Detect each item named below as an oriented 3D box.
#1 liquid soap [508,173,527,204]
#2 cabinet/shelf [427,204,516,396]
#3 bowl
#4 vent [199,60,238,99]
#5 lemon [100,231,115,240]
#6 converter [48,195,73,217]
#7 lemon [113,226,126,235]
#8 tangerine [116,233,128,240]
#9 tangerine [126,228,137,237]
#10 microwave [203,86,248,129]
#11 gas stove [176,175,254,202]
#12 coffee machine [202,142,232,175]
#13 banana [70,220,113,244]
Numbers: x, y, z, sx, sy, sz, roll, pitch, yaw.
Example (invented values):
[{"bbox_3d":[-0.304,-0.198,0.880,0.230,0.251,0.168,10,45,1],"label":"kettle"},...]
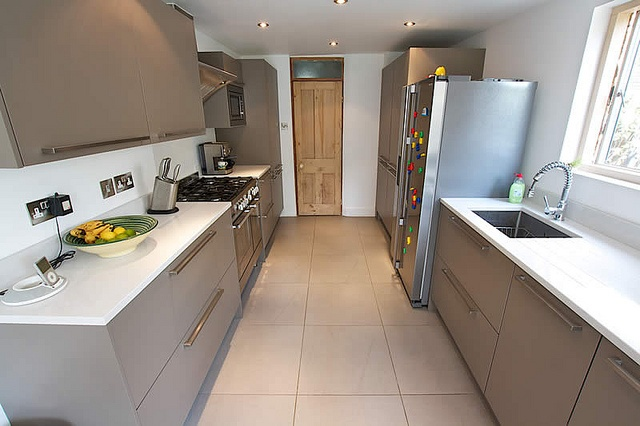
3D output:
[{"bbox_3d":[1.674,-0.209,3.286,0.124,0.232,0.215,9,22,25],"label":"liquid soap"},{"bbox_3d":[1.158,0.670,2.912,0.594,1.054,1.127,2,21,4],"label":"cabinet/shelf"},{"bbox_3d":[-1.343,0.187,2.529,0.488,0.157,0.481,0,15,0],"label":"bowl"},{"bbox_3d":[-0.992,-1.253,3.622,0.395,0.105,0.452,-9,4,26],"label":"vent"},{"bbox_3d":[-1.335,0.146,2.448,0.053,0.050,0.066,7,8,-20],"label":"lemon"},{"bbox_3d":[-1.679,-0.044,2.503,0.069,0.127,0.093,14,22,0],"label":"converter"},{"bbox_3d":[-1.287,0.116,2.502,0.048,0.048,0.060,-13,-10,44],"label":"lemon"},{"bbox_3d":[-1.260,0.152,2.476,0.043,0.039,0.041,-9,4,-31],"label":"tangerine"},{"bbox_3d":[-1.223,0.133,2.531,0.046,0.048,0.059,-31,15,-21],"label":"tangerine"},{"bbox_3d":[-1.080,-1.193,4.354,0.341,0.422,0.635,0,15,7],"label":"microwave"},{"bbox_3d":[-1.042,-0.253,3.737,0.627,0.114,0.864,1,20,4],"label":"gas stove"},{"bbox_3d":[-1.140,-0.614,4.429,0.355,0.349,0.365,0,13,-1],"label":"coffee machine"},{"bbox_3d":[-1.467,0.116,2.481,0.171,0.068,0.172,19,31,13],"label":"banana"}]
